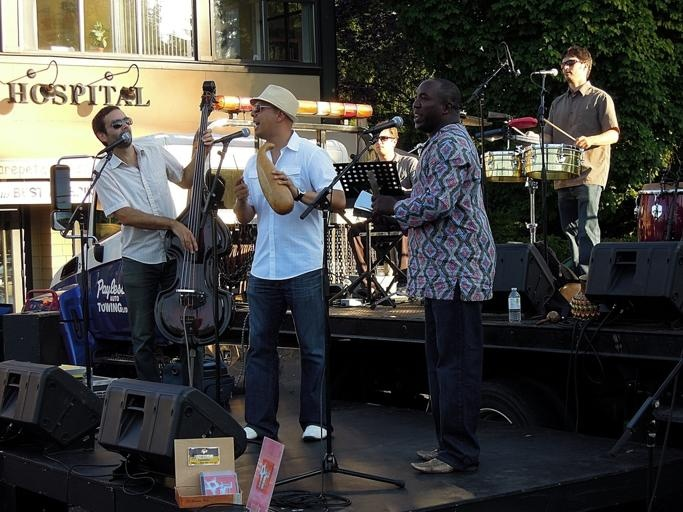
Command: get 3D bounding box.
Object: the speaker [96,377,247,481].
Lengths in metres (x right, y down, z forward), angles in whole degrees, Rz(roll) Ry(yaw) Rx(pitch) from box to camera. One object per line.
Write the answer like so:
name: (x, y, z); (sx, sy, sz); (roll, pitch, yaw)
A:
speaker: (-1.050, 0.953, 5.758); (0.800, 0.545, 0.607); (-6, -3, 41)

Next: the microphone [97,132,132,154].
microphone: (-1.723, -0.864, 6.910); (0.266, 0.174, 0.348); (-5, 11, -23)

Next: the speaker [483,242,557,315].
speaker: (1.532, 0.177, 7.607); (0.480, 0.653, 0.611); (0, -1, 36)

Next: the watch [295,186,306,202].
watch: (-0.285, -0.425, 6.191); (0.056, 0.079, 0.086); (22, 33, -19)

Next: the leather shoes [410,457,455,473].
leather shoes: (0.579, 1.333, 5.736); (0.260, 0.094, 0.099); (2, -11, 4)

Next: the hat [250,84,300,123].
hat: (-0.474, -1.079, 6.368); (0.321, 0.258, 0.214); (-2, 10, -6)

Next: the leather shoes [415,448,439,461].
leather shoes: (0.566, 1.305, 5.918); (0.123, 0.046, 0.069); (6, -4, -15)

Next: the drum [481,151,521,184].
drum: (1.578, -0.875, 8.883); (0.362, 0.186, 0.290); (-1, 0, 13)

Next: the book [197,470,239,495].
book: (-0.727, 1.352, 5.358); (0.225, 0.138, 0.082); (-4, 11, -18)
